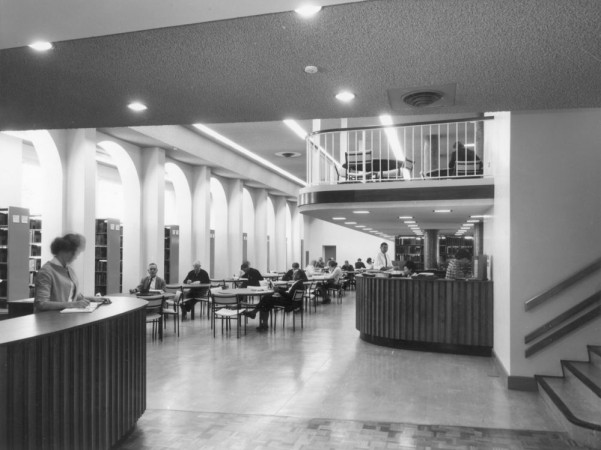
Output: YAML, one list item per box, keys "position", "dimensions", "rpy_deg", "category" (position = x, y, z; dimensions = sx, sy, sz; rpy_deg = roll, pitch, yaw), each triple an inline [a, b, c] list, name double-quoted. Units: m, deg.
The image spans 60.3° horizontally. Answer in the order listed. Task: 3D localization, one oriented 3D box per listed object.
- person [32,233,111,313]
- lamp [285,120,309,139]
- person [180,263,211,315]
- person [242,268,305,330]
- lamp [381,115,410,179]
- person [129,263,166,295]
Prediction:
- position: [-2.367, 0.606, 5.289]
  dimensions: [0.592, 1.060, 0.743]
  rpy_deg: [6, 5, 13]
  category: "person"
- position: [-0.081, -2.591, 13.821]
  dimensions: [0.228, 0.105, 1.352]
  rpy_deg: [-37, -16, 9]
  category: "lamp"
- position: [-2.537, 1.587, 12.427]
  dimensions: [0.662, 1.435, 0.746]
  rpy_deg: [-2, -8, 16]
  category: "person"
- position: [-0.488, 1.703, 11.792]
  dimensions: [1.450, 1.872, 0.789]
  rpy_deg: [2, -8, 3]
  category: "person"
- position: [2.428, -2.044, 13.157]
  dimensions: [0.462, 0.200, 4.441]
  rpy_deg: [-16, -27, 7]
  category: "lamp"
- position: [-3.006, 1.302, 10.342]
  dimensions: [0.626, 1.060, 0.557]
  rpy_deg: [-1, -11, -6]
  category: "person"
